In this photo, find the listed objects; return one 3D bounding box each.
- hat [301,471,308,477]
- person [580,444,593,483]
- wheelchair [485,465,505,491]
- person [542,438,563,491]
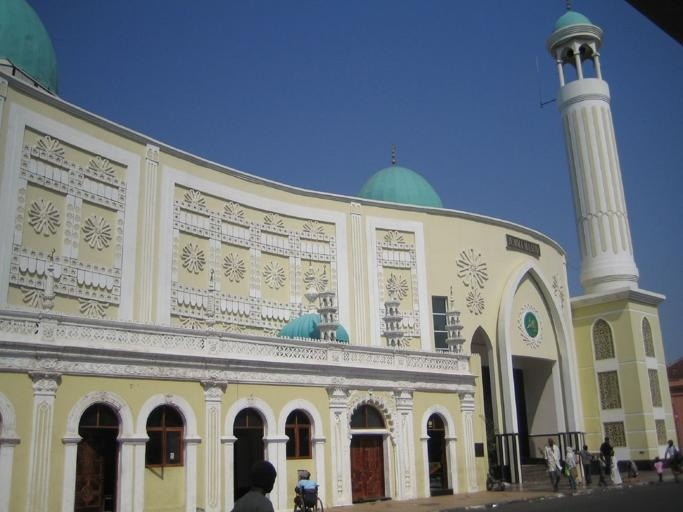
[{"bbox_3d":[-0.767,4.600,13.542,0.140,0.142,0.325,-1,-20,-2],"label":"hat"},{"bbox_3d":[8.338,7.088,21.864,0.288,1.348,1.808,-7,-20,18],"label":"person"},{"bbox_3d":[5.439,7.956,22.623,0.435,0.941,0.424,17,-32,-32],"label":"wheelchair"},{"bbox_3d":[6.982,6.753,21.145,0.429,1.845,0.317,-5,20,17],"label":"person"}]
